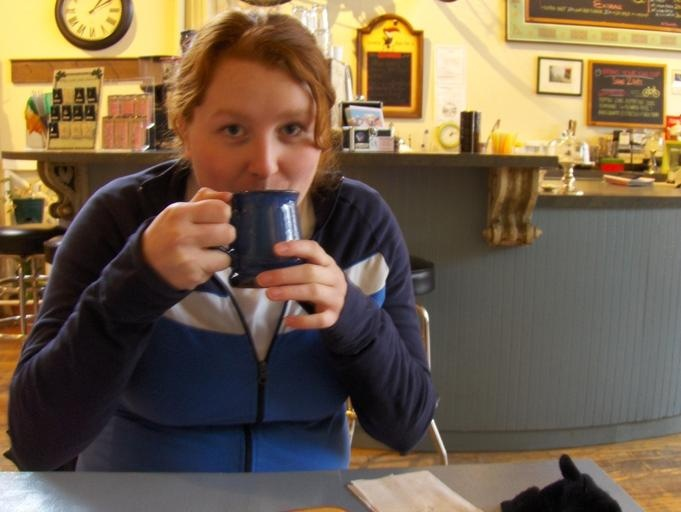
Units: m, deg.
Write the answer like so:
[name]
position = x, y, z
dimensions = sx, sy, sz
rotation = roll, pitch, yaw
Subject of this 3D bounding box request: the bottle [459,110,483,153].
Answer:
[bottle]
position = 0.582, -0.552, 2.582
dimensions = 0.087, 0.204, 0.208
rotation = 2, 4, 12

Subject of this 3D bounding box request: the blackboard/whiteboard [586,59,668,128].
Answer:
[blackboard/whiteboard]
position = 2.298, -1.326, 4.695
dimensions = 0.602, 0.466, 0.025
rotation = 0, -3, -12

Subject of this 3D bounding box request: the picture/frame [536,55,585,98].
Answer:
[picture/frame]
position = 1.728, -1.427, 4.588
dimensions = 0.361, 0.259, 0.026
rotation = 0, 3, -12

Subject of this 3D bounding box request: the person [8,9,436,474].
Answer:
[person]
position = -0.224, -0.007, 1.185
dimensions = 0.849, 0.954, 0.526
rotation = 1, 4, 7

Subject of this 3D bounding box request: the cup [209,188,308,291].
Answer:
[cup]
position = -0.149, -0.030, 0.929
dimensions = 0.164, 0.142, 0.100
rotation = -6, 10, -14
